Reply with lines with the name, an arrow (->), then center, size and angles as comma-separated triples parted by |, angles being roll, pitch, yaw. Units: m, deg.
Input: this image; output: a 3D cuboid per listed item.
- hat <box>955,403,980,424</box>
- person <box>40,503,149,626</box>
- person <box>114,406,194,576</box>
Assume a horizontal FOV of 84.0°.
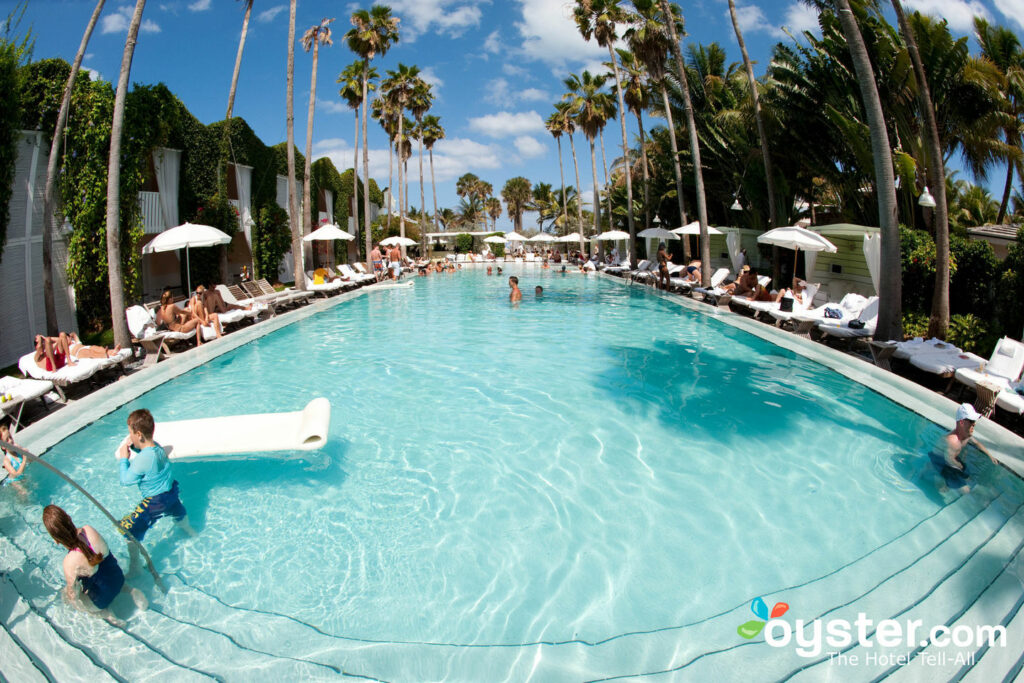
hat -> 5.848, 0.928, 7.372 | 0.225, 0.174, 0.304 | -25, 22, -20
person -> -3.966, 2.046, 5.336 | 0.676, 1.242, 0.595 | 18, 31, 20
person -> -3.943, 1.707, 6.322 | 0.758, 1.805, 0.808 | 12, 21, -11
